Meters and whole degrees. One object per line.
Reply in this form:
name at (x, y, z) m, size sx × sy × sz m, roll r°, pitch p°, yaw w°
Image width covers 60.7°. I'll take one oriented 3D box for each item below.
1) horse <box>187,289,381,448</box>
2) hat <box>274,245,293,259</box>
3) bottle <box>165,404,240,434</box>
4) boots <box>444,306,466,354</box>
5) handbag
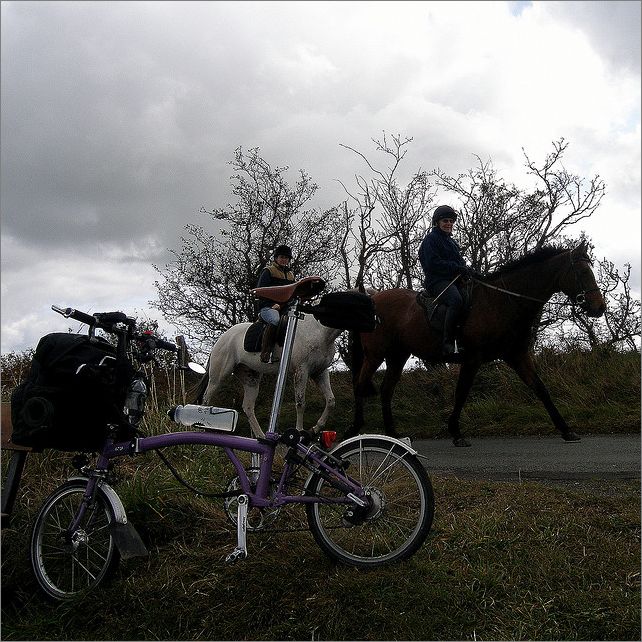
horse at (-0.583, 0.638, 8.751) m, size 3.761 × 2.448 × 0.780 m, roll -4°, pitch -7°, yaw 26°
hat at (-0.605, -1.071, 8.686) m, size 0.197 × 0.206 × 0.258 m, roll 1°, pitch -8°, yaw -9°
bottle at (-0.680, 0.562, 3.162) m, size 0.367 × 0.187 × 0.119 m, roll 5°, pitch -3°, yaw 6°
boots at (1.804, 0.163, 7.533) m, size 0.261 × 0.695 × 0.303 m, roll -7°, pitch -1°, yaw -38°
handbag at (-1.537, 0.457, 3.314) m, size 0.578 × 0.579 × 0.561 m, roll 2°, pitch -15°, yaw -4°
